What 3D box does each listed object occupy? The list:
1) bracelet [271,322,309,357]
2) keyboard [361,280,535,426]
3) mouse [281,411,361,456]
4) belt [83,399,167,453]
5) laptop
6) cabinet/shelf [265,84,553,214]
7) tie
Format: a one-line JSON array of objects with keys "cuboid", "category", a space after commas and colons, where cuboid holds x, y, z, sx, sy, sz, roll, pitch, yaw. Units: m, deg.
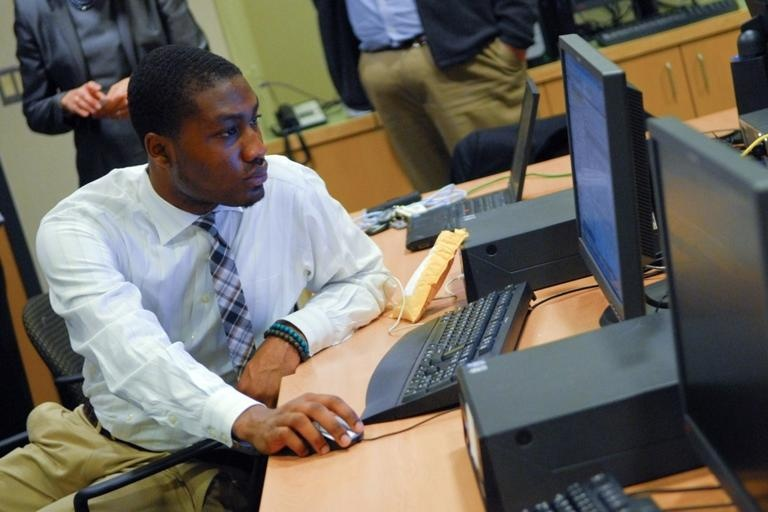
[{"cuboid": [-0.243, 0.211, 1.890, 0.097, 0.082, 0.037, 33, 51, 21], "category": "bracelet"}, {"cuboid": [0.149, 0.279, 1.647, 0.274, 0.096, 0.400, -16, 21, 34], "category": "keyboard"}, {"cuboid": [-0.140, 0.365, 1.530, 0.143, 0.050, 0.080, 1, 14, 21], "category": "mouse"}, {"cuboid": [-0.727, 0.460, 2.001, 0.049, 0.168, 0.147, -41, 18, -3], "category": "belt"}, {"cuboid": [0.293, -0.228, 2.426, 0.443, 0.536, 0.612, 1, 21, 12], "category": "laptop"}, {"cuboid": [0.129, -0.489, 3.186, 0.595, 0.452, 0.429, -17, 29, -30], "category": "cabinet/shelf"}, {"cuboid": [-0.431, 0.075, 1.955, 0.102, 0.555, 0.029, -14, -4, -18], "category": "tie"}]
